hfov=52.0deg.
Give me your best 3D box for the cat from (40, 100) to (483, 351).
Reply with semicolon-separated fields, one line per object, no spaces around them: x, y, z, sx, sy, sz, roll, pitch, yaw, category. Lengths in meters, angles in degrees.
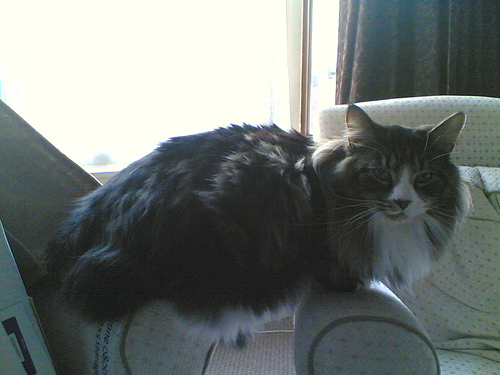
-0.010;0.062;1.374;1.046;0.565;0.560;-1;15;4;cat
